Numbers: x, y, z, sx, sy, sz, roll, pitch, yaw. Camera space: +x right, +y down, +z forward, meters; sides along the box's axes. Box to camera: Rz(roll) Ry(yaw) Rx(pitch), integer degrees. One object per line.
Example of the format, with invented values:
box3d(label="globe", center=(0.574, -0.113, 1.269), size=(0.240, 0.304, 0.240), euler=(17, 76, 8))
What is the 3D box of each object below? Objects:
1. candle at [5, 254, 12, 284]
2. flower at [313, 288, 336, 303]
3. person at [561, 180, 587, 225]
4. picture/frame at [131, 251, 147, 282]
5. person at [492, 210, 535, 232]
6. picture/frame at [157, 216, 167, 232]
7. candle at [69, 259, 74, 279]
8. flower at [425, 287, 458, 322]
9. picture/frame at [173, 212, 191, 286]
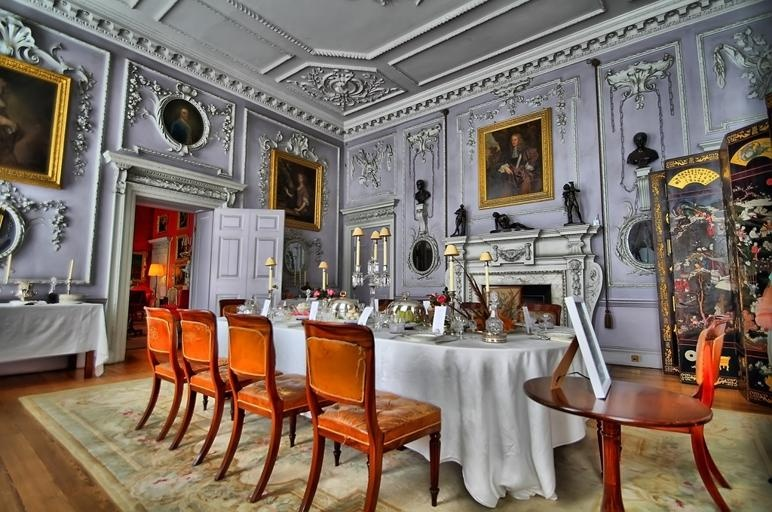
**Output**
box3d(label="candle", center=(-5.195, 0.160, 6.216), size=(0.055, 0.433, 0.048), euler=(5, -6, -14))
box3d(label="flower", center=(-0.900, 0.553, 6.528), size=(0.332, 0.242, 0.331), euler=(5, -6, -35))
box3d(label="person", center=(2.969, -0.859, 7.193), size=(0.335, 0.738, 0.277), euler=(-3, -5, 29))
box3d(label="picture/frame", center=(-7.233, 0.294, 13.255), size=(0.356, 0.835, 0.150), euler=(2, -4, -29))
box3d(label="person", center=(2.172, -0.589, 7.744), size=(0.767, 0.386, 0.245), euler=(3, 4, 39))
box3d(label="picture/frame", center=(-6.453, -0.944, 13.059), size=(0.439, 0.455, 0.063), euler=(-8, -10, 38))
box3d(label="candle", center=(-4.587, 0.193, 6.581), size=(0.080, 0.321, 0.098), euler=(2, -5, -35))
box3d(label="flower", center=(0.591, 0.488, 4.802), size=(0.312, 0.355, 0.343), euler=(1, -2, -38))
box3d(label="picture/frame", center=(-5.435, -0.232, 12.051), size=(0.213, 1.994, 0.975), euler=(2, -5, -34))
